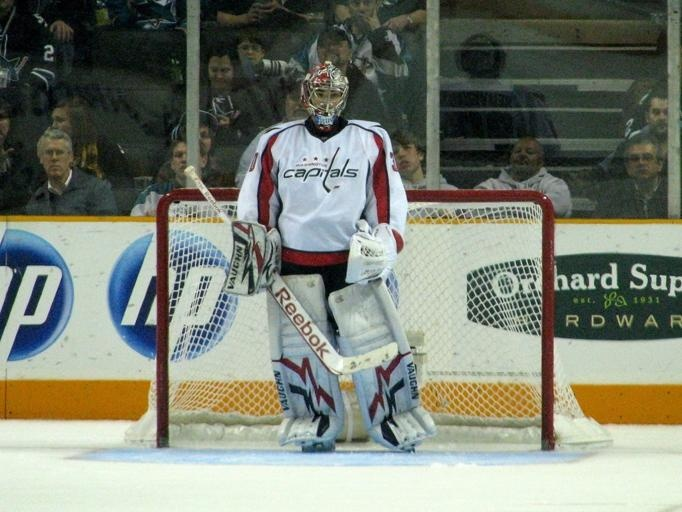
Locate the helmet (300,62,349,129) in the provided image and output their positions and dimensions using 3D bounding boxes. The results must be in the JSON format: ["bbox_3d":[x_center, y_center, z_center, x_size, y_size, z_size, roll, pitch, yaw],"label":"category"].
[{"bbox_3d":[-0.094,-0.829,6.021,0.248,0.340,0.337,1,1,-6],"label":"helmet"}]
